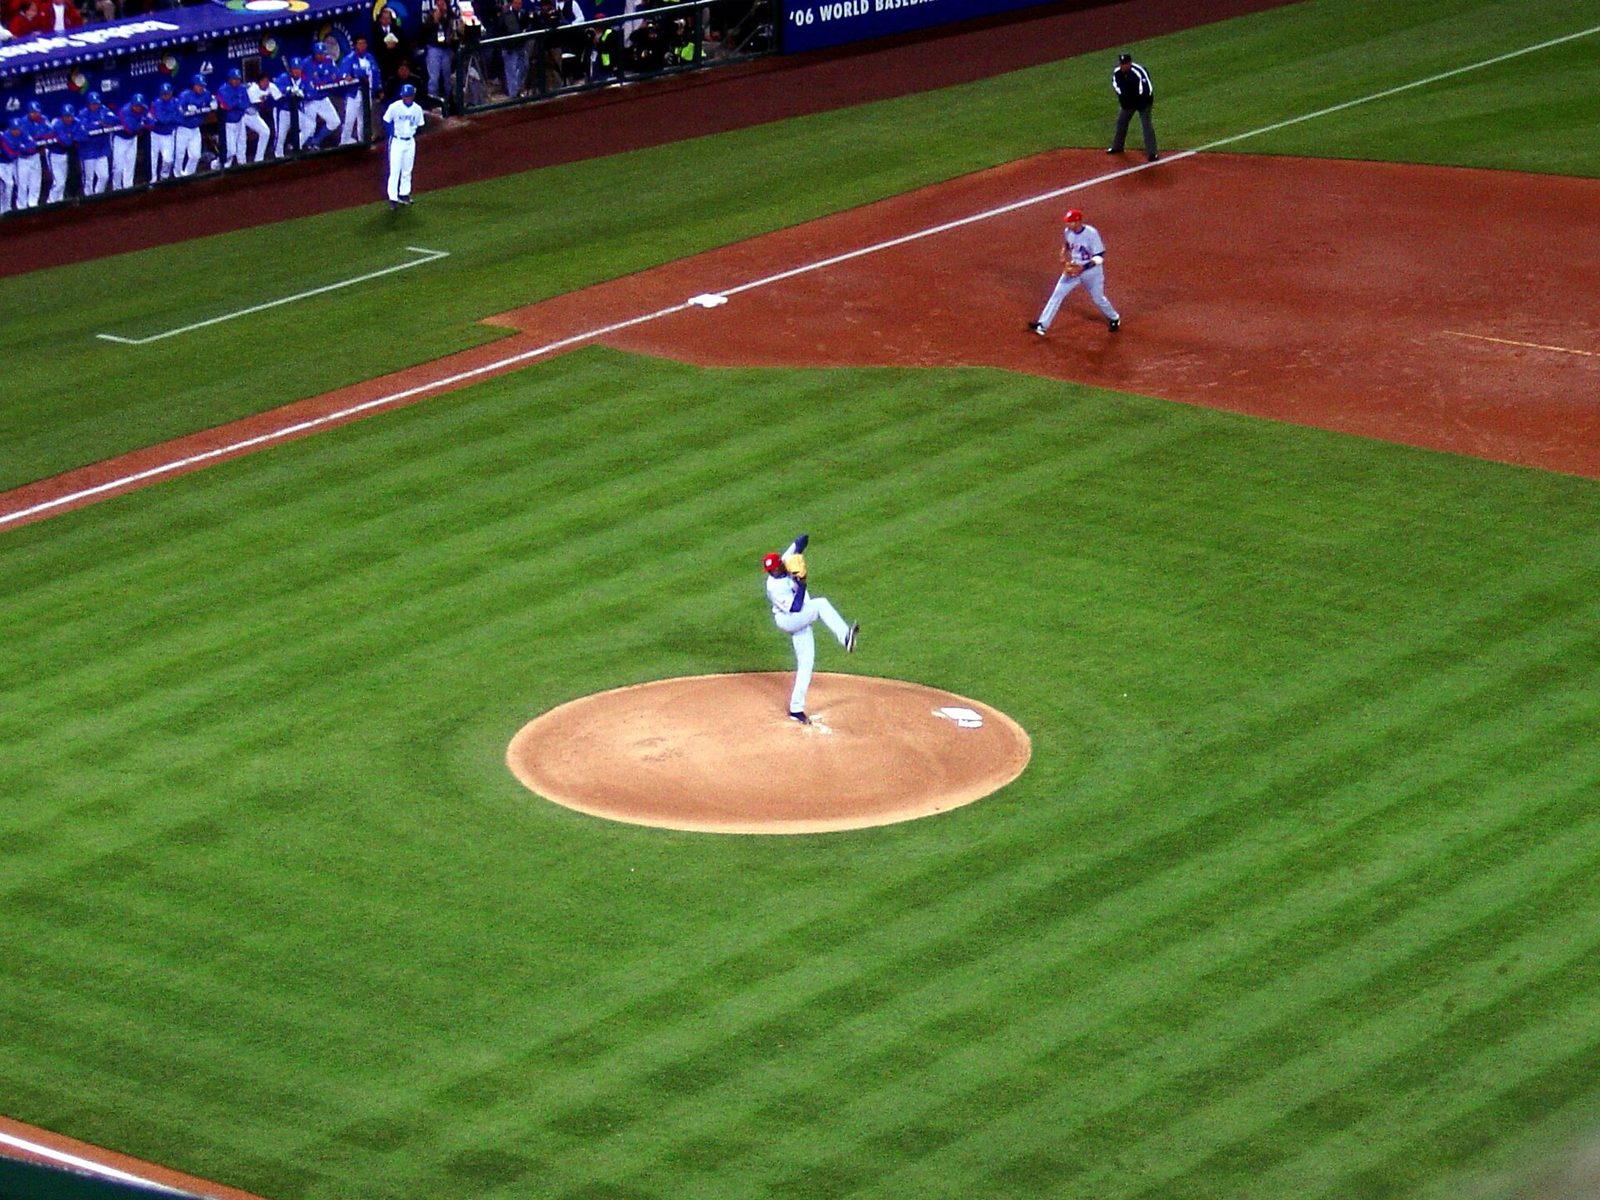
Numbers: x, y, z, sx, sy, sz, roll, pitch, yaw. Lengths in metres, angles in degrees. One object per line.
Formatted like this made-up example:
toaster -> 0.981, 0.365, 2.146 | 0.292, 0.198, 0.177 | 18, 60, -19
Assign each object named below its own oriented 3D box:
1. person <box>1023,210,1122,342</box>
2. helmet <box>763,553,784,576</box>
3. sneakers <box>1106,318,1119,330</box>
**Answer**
person -> 4.009, -4.834, 31.907 | 1.262, 1.876, 1.433 | -5, 20, 7
helmet -> -0.296, -0.348, 21.600 | 0.174, 0.237, 0.302 | -11, 18, -9
sneakers -> 4.654, -4.160, 32.422 | 0.092, 0.167, 0.173 | 7, 1, 43
